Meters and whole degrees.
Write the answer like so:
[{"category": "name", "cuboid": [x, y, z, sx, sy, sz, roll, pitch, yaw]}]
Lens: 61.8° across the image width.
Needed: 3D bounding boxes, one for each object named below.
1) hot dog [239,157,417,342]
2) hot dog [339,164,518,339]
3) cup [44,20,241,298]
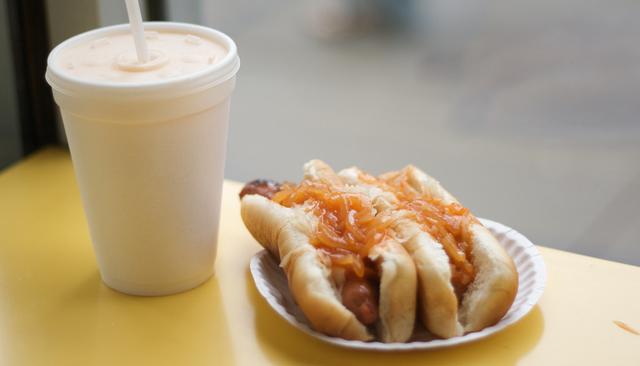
[{"category": "hot dog", "cuboid": [-0.008, 0.161, 1.060, 0.194, 0.107, 0.382, -23, 64, -29]}, {"category": "hot dog", "cuboid": [0.226, 0.135, 1.257, 0.359, 0.193, 0.646, -12, 18, -9]}, {"category": "cup", "cuboid": [-0.355, -0.048, 1.104, 0.350, 0.500, 0.306, 5, 33, 0]}]
